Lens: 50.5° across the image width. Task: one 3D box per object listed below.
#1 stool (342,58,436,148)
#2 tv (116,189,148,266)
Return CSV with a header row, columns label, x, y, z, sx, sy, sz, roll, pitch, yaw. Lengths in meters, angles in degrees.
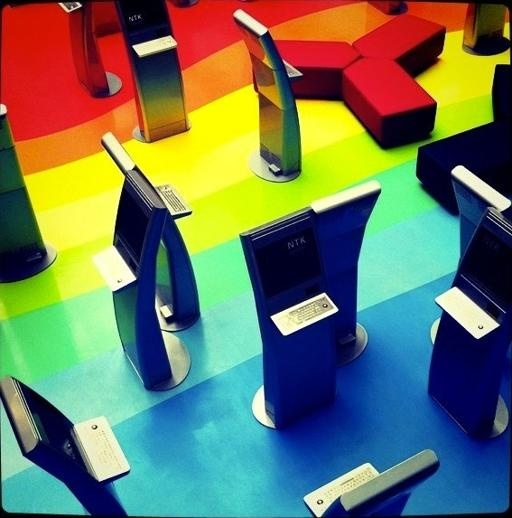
label,x,y,z,sx,sy,sz,roll,pitch,yaw
stool,1.452,-1.723,5.999,0.713,0.590,1.095,-22,43,-16
tv,-0.757,-0.195,3.328,0.030,0.352,0.299,-11,51,-26
